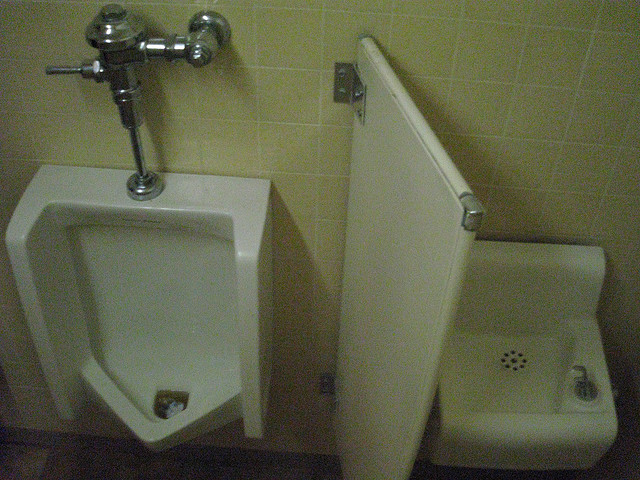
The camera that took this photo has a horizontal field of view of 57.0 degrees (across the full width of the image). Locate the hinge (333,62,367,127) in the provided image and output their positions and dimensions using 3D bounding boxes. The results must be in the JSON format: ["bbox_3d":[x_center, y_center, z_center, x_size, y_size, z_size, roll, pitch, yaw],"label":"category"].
[{"bbox_3d":[0.076,-0.375,1.496,0.065,0.121,0.126,-3,53,-8],"label":"hinge"}]

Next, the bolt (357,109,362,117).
[{"bbox_3d":[0.098,-0.315,1.470,0.005,0.017,0.019,-2,7,-23],"label":"bolt"}]

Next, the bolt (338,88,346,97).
[{"bbox_3d":[0.056,-0.381,1.527,0.020,0.020,0.005,0,-3,5],"label":"bolt"}]

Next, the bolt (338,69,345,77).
[{"bbox_3d":[0.055,-0.424,1.505,0.012,0.015,0.003,-6,8,3],"label":"bolt"}]

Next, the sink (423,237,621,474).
[{"bbox_3d":[0.626,0.383,1.970,0.665,0.431,0.687,4,70,6],"label":"sink"}]

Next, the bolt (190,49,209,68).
[{"bbox_3d":[-0.279,-0.414,1.358,0.039,0.027,0.034,2,-1,-10],"label":"bolt"}]

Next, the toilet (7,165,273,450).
[{"bbox_3d":[-0.495,0.157,1.654,0.740,0.861,0.468,3,44,2],"label":"toilet"}]
